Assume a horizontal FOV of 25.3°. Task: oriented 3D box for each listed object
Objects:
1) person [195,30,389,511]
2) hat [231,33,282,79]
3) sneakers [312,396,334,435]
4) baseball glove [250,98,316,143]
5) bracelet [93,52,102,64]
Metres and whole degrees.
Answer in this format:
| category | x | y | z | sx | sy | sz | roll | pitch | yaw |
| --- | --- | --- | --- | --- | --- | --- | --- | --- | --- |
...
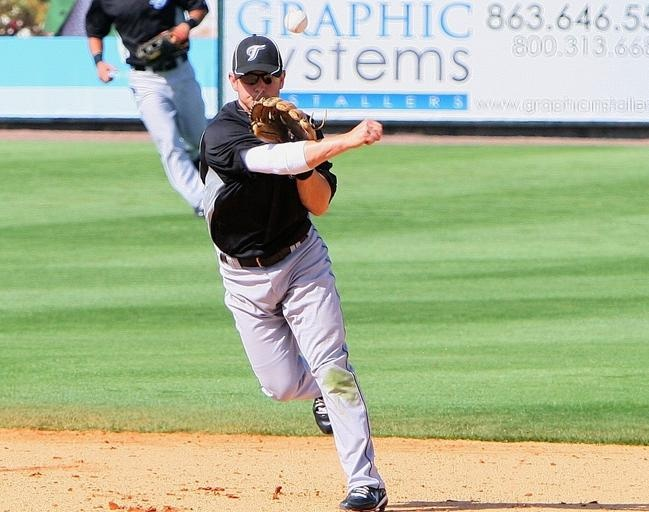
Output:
| category | x | y | z | sx | sy | sz | roll | pitch | yaw |
| --- | --- | --- | --- | --- | --- | --- | --- | --- | --- |
| person | -0.242 | 0.103 | 9.794 | 1.244 | 3.148 | 0.611 | 1 | 11 | 14 |
| hat | -0.462 | -1.350 | 9.755 | 0.333 | 0.267 | 0.173 | 0 | 10 | 4 |
| sneakers | -0.004 | 1.143 | 10.425 | 0.163 | 0.254 | 0.096 | -6 | 2 | 33 |
| baseball glove | -0.274 | -0.893 | 9.515 | 0.440 | 0.282 | 0.249 | -1 | 10 | 0 |
| bracelet | -2.149 | -1.864 | 13.663 | 0.099 | 0.083 | 0.090 | -1 | -11 | 3 |
